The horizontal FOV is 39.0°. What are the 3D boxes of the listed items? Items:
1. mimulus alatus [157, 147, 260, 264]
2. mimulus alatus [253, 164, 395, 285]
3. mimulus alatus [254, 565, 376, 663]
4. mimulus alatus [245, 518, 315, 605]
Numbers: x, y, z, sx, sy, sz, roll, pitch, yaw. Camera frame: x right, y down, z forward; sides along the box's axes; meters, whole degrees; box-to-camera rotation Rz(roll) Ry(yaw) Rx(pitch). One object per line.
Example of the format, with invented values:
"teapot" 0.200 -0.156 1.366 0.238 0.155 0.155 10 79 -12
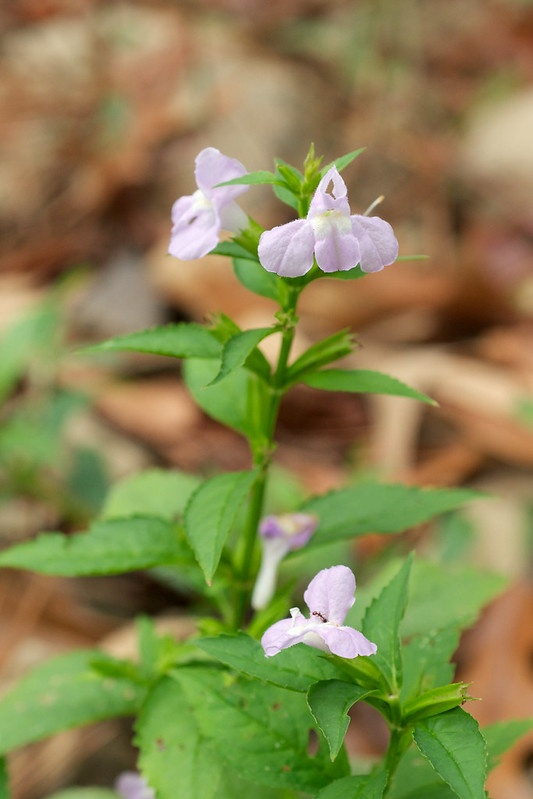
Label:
"mimulus alatus" -0.174 -0.383 1.665 0.128 0.271 0.239 21 53 -36
"mimulus alatus" 0.120 -0.376 1.509 0.308 0.309 0.088 27 82 46
"mimulus alatus" 0.085 0.419 1.438 0.201 0.060 0.177 -11 54 -4
"mimulus alatus" 0.040 0.421 2.190 0.119 0.102 0.342 28 63 14
